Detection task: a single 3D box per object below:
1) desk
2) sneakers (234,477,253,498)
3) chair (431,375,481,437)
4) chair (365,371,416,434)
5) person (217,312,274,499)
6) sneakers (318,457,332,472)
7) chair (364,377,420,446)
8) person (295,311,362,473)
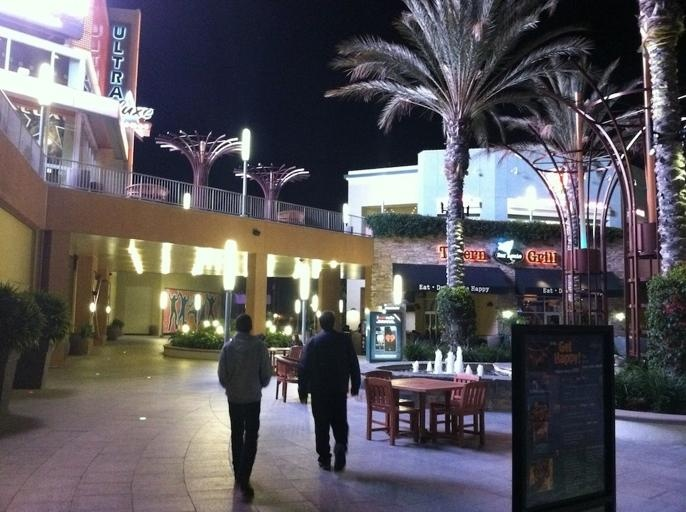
[{"bbox_3d":[1.584,2.537,11.174,0.949,0.881,1.687,-1,1,-25],"label":"desk"},{"bbox_3d":[-1.335,3.157,8.041,0.193,0.356,0.183,0,-10,-20],"label":"sneakers"},{"bbox_3d":[2.209,2.856,11.012,0.817,1.316,0.936,3,-1,-21],"label":"chair"},{"bbox_3d":[0.886,2.839,10.978,0.796,1.223,0.681,3,-4,-39],"label":"chair"},{"bbox_3d":[-1.407,2.051,8.442,0.727,2.469,0.770,4,-9,-22],"label":"person"},{"bbox_3d":[-0.277,3.224,9.090,0.153,0.168,0.160,1,-7,3],"label":"sneakers"},{"bbox_3d":[0.890,2.835,10.973,0.874,1.204,0.826,1,-2,-23],"label":"chair"},{"bbox_3d":[-0.213,2.085,9.222,0.942,2.404,0.516,1,-8,-2],"label":"person"}]
